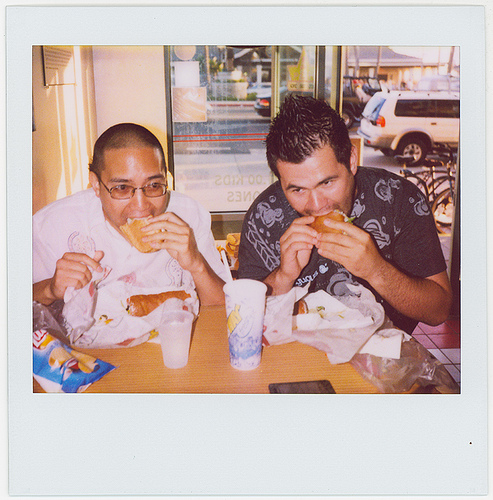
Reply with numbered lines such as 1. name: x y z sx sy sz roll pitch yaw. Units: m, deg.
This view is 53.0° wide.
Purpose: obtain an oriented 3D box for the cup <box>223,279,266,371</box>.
1. cup: -0.005 0.194 1.422 0.116 0.237 0.195 -1 14 -3

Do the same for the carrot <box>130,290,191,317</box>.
1. carrot: -0.333 0.188 1.812 0.174 0.059 0.097 -6 16 -21

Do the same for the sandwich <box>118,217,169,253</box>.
1. sandwich: -0.401 -0.040 1.963 0.243 0.067 0.233 33 -13 -28

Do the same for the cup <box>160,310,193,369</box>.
1. cup: -0.194 0.242 1.383 0.087 0.151 0.126 -2 14 -6

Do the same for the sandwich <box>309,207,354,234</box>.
1. sandwich: 0.319 -0.120 1.840 0.150 0.078 0.286 4 15 15

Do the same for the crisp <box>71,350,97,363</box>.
1. crisp: -0.459 0.299 1.391 0.080 0.029 0.015 20 1 19

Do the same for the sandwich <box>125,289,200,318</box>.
1. sandwich: -0.331 0.171 1.819 0.196 0.071 0.108 -5 12 -12
